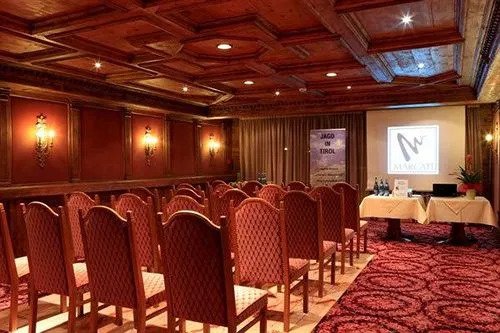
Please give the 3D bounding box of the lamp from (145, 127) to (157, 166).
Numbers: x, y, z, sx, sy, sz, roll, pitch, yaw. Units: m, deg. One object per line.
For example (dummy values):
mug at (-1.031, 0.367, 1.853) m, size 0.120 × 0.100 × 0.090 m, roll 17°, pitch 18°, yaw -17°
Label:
lamp at (-2.748, -0.579, 9.441) m, size 0.094 × 1.087 × 0.411 m, roll 1°, pitch 5°, yaw 28°

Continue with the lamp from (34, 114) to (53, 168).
lamp at (-4.345, -0.546, 7.200) m, size 0.117 × 1.120 × 0.383 m, roll 1°, pitch 5°, yaw 27°

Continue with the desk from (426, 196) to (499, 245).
desk at (4.490, 0.998, 7.352) m, size 1.143 × 0.818 × 1.171 m, roll 0°, pitch 3°, yaw 28°

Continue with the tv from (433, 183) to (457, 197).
tv at (4.209, 0.514, 7.350) m, size 0.426 × 0.275 × 0.303 m, roll 0°, pitch 1°, yaw 24°

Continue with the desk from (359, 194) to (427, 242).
desk at (3.264, 1.092, 7.695) m, size 1.214 × 0.837 × 1.240 m, roll 0°, pitch 2°, yaw 26°

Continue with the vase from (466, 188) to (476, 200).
vase at (4.550, 0.578, 7.005) m, size 0.209 × 0.222 × 0.204 m, roll 1°, pitch 0°, yaw -3°
